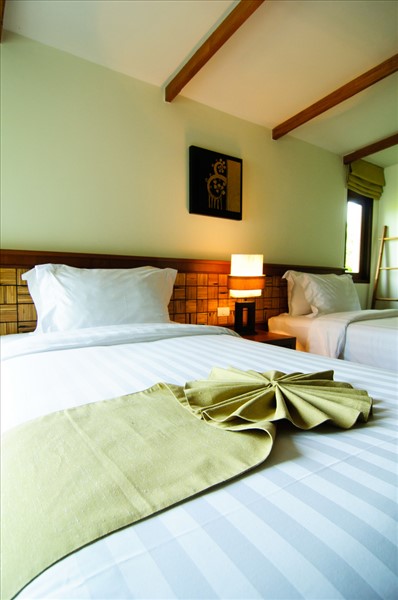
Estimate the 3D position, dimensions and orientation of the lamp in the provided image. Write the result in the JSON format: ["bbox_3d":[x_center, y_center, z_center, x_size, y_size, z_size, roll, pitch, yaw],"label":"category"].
[{"bbox_3d":[0.394,-0.006,2.820,0.235,0.586,0.163,6,-11,16],"label":"lamp"}]

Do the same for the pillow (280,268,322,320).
[{"bbox_3d":[0.892,-0.046,3.281,0.314,0.372,0.100,2,-11,-35],"label":"pillow"}]
